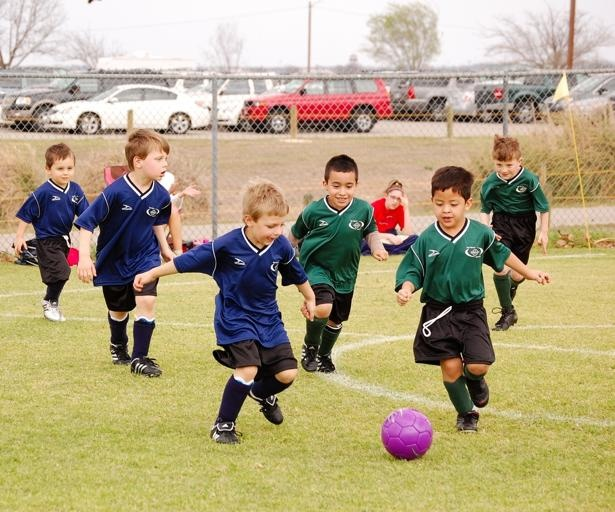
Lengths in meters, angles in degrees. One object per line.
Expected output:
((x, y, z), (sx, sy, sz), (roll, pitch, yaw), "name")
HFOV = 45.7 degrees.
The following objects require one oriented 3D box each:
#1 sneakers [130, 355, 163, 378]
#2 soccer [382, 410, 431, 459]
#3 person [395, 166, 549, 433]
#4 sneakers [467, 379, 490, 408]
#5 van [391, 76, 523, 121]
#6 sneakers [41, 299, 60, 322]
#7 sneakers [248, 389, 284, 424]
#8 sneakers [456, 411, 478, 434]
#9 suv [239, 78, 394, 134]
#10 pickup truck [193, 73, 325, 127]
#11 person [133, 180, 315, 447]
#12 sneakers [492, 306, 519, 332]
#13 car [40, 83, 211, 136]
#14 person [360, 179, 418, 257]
((-1.170, 0.812, 5.322), (0.226, 0.100, 0.118), (-1, -1, 32), "sneakers")
((0.571, 1.015, 4.171), (0.274, 0.239, 0.210), (-1, 13, -8), "soccer")
((0.911, 0.258, 4.488), (0.725, 1.580, 0.715), (3, 13, 10), "person")
((1.058, 0.850, 4.509), (0.080, 0.221, 0.163), (-13, -10, 24), "sneakers")
((2.213, -2.674, 12.414), (1.259, 0.738, 3.347), (6, 13, 22), "van")
((-2.323, 0.485, 6.640), (0.159, 0.173, 0.241), (-3, 13, -19), "sneakers")
((-0.221, 0.946, 4.538), (0.130, 0.291, 0.124), (-46, 19, -32), "sneakers")
((0.987, 1.021, 4.454), (0.086, 0.157, 0.161), (1, -17, 7), "sneakers")
((0.164, -2.402, 11.571), (2.364, 0.824, 1.056), (0, 8, -14), "suv")
((-0.973, -3.213, 13.892), (2.532, 1.177, 1.416), (2, 9, -3), "pickup truck")
((-0.383, 0.316, 4.318), (0.882, 1.490, 0.496), (0, 13, -5), "person")
((1.816, 0.575, 6.604), (0.117, 0.160, 0.342), (-1, 6, 43), "sneakers")
((-3.208, -2.828, 13.215), (2.880, 0.817, 1.310), (-1, 6, -26), "car")
((0.970, -0.452, 8.749), (0.709, 0.878, 0.615), (2, 12, -33), "person")
